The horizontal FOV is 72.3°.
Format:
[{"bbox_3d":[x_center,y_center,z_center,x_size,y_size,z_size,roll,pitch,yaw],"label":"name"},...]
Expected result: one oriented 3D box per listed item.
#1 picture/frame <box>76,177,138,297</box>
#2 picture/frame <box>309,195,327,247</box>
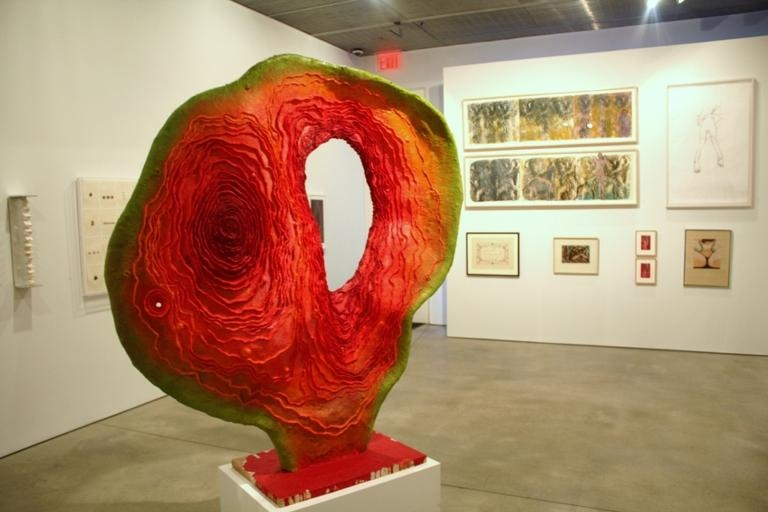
[{"bbox_3d":[-2.677,-0.179,5.059,0.112,1.113,0.559,2,9,23],"label":"picture/frame"},{"bbox_3d":[-0.995,-0.527,7.962,0.205,0.737,0.388,-2,8,-6],"label":"picture/frame"}]
